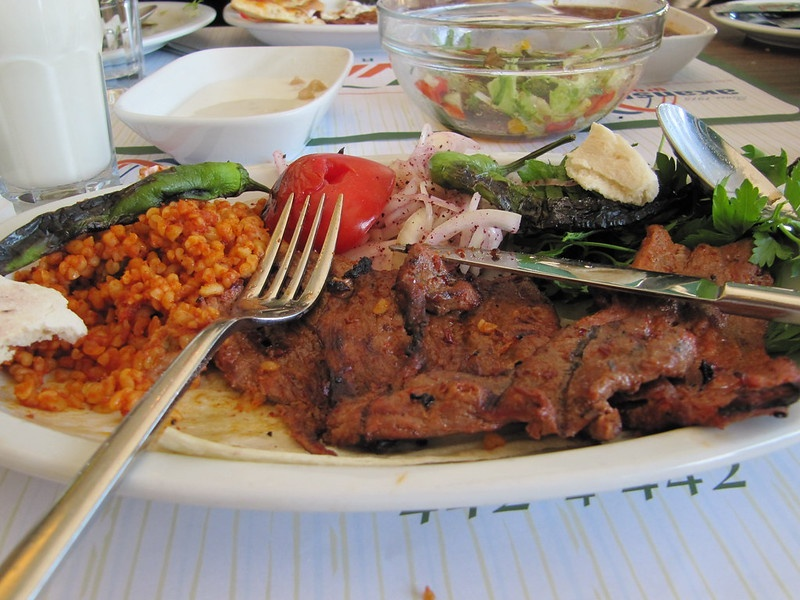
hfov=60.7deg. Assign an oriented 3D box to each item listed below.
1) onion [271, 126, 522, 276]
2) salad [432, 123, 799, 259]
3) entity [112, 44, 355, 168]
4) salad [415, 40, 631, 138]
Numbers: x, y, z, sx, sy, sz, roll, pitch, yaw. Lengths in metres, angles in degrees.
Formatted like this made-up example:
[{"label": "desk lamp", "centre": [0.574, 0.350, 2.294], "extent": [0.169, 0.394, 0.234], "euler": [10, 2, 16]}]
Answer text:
[{"label": "onion", "centre": [0.080, -0.298, 2.256], "extent": [0.879, 0.126, 0.434], "euler": [6, 50, 9]}, {"label": "salad", "centre": [0.612, -0.302, 2.127], "extent": [1.040, 0.169, 0.497], "euler": [8, 14, 9]}, {"label": "entity", "centre": [-0.709, -0.839, 2.882], "extent": [1.069, 0.299, 0.847], "euler": [6, 32, 15]}, {"label": "salad", "centre": [0.488, -0.825, 2.775], "extent": [0.917, 0.388, 0.275], "euler": [3, 42, -2]}]
